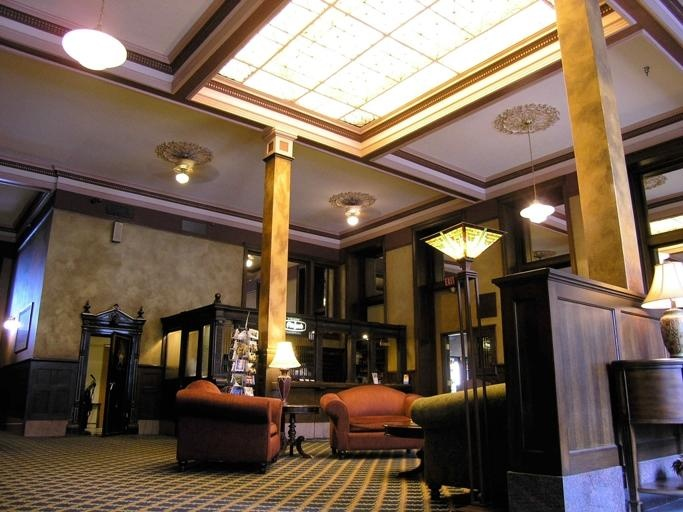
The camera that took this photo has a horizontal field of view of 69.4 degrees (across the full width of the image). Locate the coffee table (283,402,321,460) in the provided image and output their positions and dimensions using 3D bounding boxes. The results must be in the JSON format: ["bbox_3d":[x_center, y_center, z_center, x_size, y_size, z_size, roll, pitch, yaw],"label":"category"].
[{"bbox_3d":[-0.733,2.573,7.301,0.784,0.727,0.788,2,-14,-3],"label":"coffee table"}]

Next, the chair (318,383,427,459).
[{"bbox_3d":[0.509,2.437,7.357,1.605,1.001,0.892,2,-14,-9],"label":"chair"}]

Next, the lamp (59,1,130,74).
[{"bbox_3d":[-3.117,-2.818,6.211,0.607,1.268,0.607,4,-38,-20],"label":"lamp"}]

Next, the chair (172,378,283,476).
[{"bbox_3d":[-1.343,2.049,6.066,1.358,0.922,1.383,-2,-16,18],"label":"chair"}]

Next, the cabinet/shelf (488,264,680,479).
[{"bbox_3d":[1.790,0.882,3.605,1.583,0.915,0.257,12,-15,-41],"label":"cabinet/shelf"}]
